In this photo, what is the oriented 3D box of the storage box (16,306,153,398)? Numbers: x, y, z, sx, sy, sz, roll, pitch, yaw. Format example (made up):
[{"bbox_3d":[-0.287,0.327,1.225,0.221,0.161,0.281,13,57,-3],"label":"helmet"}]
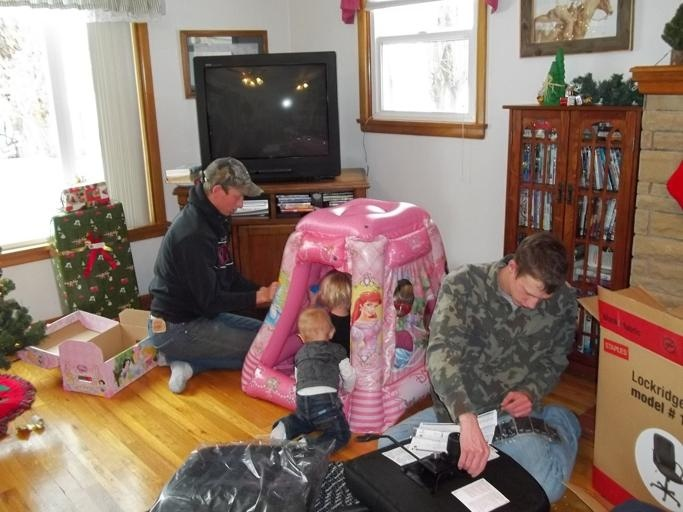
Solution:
[{"bbox_3d":[-1.490,0.522,3.218,0.712,0.339,0.638,8,22,30],"label":"storage box"}]

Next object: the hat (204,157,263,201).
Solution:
[{"bbox_3d":[-0.620,-0.443,3.013,0.280,0.168,0.192,8,22,-17],"label":"hat"}]

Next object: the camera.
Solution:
[{"bbox_3d":[0.394,0.721,1.825,0.136,0.065,0.204,2,10,10],"label":"camera"}]

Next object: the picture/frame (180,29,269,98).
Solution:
[{"bbox_3d":[-0.901,-1.426,3.885,0.630,0.497,0.030,-12,19,-26],"label":"picture/frame"}]
